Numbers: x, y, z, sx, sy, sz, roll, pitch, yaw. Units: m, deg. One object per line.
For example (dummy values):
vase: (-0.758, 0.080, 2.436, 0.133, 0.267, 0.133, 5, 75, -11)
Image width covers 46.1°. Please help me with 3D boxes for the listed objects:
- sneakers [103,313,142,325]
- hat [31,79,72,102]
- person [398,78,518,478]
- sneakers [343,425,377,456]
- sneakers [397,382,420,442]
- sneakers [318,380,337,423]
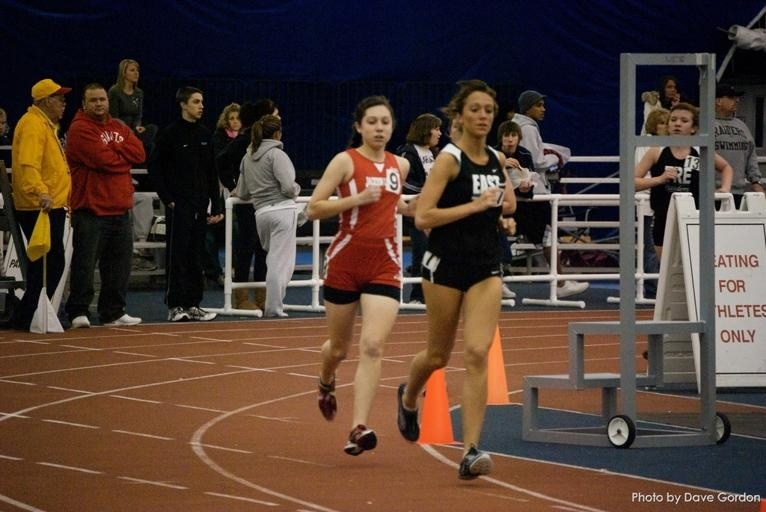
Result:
sneakers: (-3.616, 0.882, 12.489, 0.496, 0.196, 0.180, -1, 1, -4)
hat: (-4.457, -2.220, 11.911, 0.574, 0.267, 0.355, -9, 16, -19)
person: (0.532, 0.092, 6.529, 0.758, 2.858, 1.133, 2, -2, 1)
sneakers: (-0.145, 1.322, 6.440, 0.145, 0.139, 0.297, 22, -29, -21)
sneakers: (0.190, 1.215, 6.975, 0.173, 0.411, 0.157, -6, -3, -26)
sneakers: (-0.456, 1.193, 7.383, 0.130, 0.342, 0.154, -7, 6, -2)
